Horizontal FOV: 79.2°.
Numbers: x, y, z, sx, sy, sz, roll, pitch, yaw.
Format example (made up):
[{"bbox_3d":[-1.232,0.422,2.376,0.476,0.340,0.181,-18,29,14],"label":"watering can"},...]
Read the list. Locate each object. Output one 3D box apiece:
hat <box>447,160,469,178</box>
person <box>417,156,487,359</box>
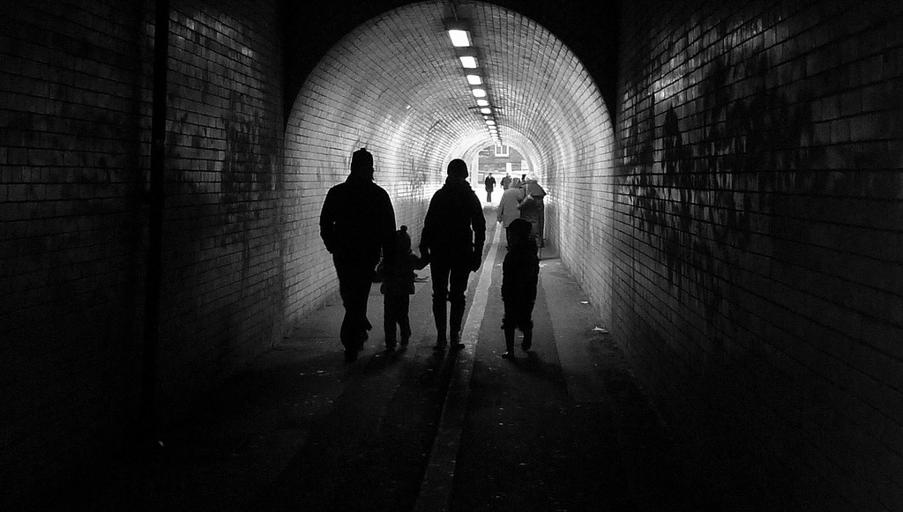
[{"bbox_3d":[0.101,-1.350,8.463,0.335,0.294,0.282,0,6,-14],"label":"hat"},{"bbox_3d":[0.012,-0.051,8.561,0.950,2.906,1.010,0,7,2],"label":"person"}]
